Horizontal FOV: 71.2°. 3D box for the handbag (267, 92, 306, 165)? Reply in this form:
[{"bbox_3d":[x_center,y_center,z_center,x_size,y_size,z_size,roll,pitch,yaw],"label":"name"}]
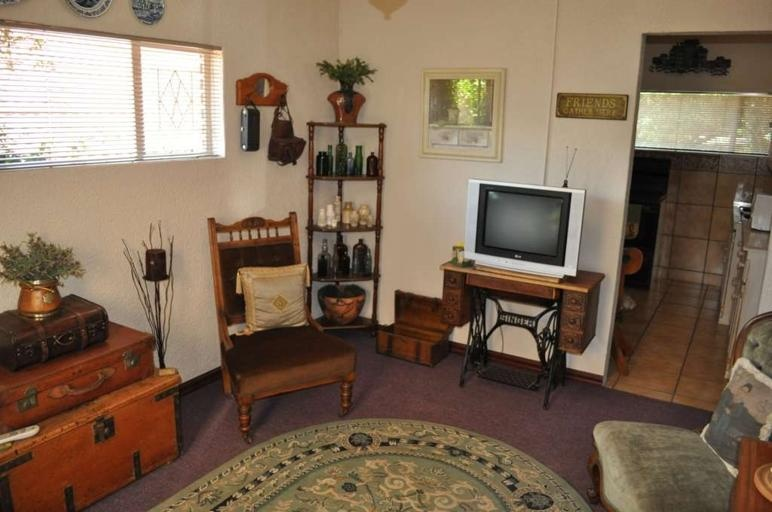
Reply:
[{"bbox_3d":[-0.978,-1.190,5.130,0.326,0.677,0.219,-12,18,-39],"label":"handbag"}]

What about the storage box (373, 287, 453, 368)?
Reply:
[{"bbox_3d":[0.260,0.873,5.779,0.888,0.837,0.695,6,11,26],"label":"storage box"}]

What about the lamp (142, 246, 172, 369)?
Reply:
[{"bbox_3d":[-1.848,0.444,4.422,0.174,1.052,0.372,-7,15,-22],"label":"lamp"}]

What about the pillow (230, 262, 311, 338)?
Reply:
[{"bbox_3d":[-1.020,0.387,4.680,0.612,0.512,0.230,-4,5,-26],"label":"pillow"}]

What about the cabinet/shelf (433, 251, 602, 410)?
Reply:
[{"bbox_3d":[1.268,0.694,4.972,1.215,1.060,0.538,7,13,30],"label":"cabinet/shelf"}]

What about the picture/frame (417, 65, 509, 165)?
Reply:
[{"bbox_3d":[0.785,-1.397,5.230,0.935,0.959,0.047,6,11,24],"label":"picture/frame"}]

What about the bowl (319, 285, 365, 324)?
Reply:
[{"bbox_3d":[-0.476,0.579,5.704,0.453,0.316,0.468,2,1,0],"label":"bowl"}]

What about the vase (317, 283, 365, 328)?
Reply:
[{"bbox_3d":[-0.460,0.572,5.716,0.477,0.331,0.488,2,4,23],"label":"vase"}]

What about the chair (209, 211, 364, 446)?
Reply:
[{"bbox_3d":[-0.933,0.486,4.714,1.040,1.638,1.283,-6,15,-20],"label":"chair"}]

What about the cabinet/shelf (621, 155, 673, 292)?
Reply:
[{"bbox_3d":[3.768,-0.516,7.801,0.463,1.892,0.746,6,16,25],"label":"cabinet/shelf"}]
